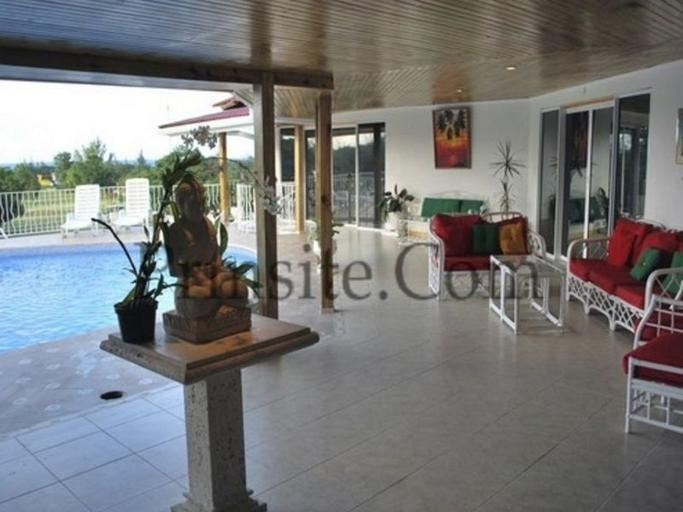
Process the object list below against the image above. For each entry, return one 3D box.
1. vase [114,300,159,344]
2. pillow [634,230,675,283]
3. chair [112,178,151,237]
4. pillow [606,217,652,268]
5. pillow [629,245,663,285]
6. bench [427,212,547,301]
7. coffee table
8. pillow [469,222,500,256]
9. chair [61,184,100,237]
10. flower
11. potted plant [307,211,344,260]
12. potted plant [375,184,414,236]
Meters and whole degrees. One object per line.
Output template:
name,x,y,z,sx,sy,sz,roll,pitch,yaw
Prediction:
vase,-1.062,0.338,2.448,0.191,0.188,0.207,3,7,17
pillow,3.662,0.003,5.564,0.182,0.605,0.628,16,12,2
chair,-5.562,-1.353,12.753,0.774,1.309,1.877,-2,13,-15
pillow,3.676,-0.186,6.195,0.231,0.593,0.579,17,5,-16
pillow,3.482,0.100,5.455,0.292,0.382,0.229,9,16,37
bench,2.179,0.016,7.310,1.693,1.185,0.898,-2,15,-10
coffee table,2.461,0.477,6.411,0.680,0.798,1.210,-1,11,6
pillow,2.214,-0.254,7.323,0.417,0.539,0.204,-1,-14,11
chair,-6.941,-1.158,12.661,0.803,1.055,1.450,-1,26,0
flower,-0.800,-0.143,2.491,0.789,0.766,0.662,-3,17,-26
potted plant,-0.396,-0.370,10.055,0.595,0.723,0.858,-8,11,-24
potted plant,1.556,-1.174,11.881,1.153,1.404,1.149,-1,13,-2
